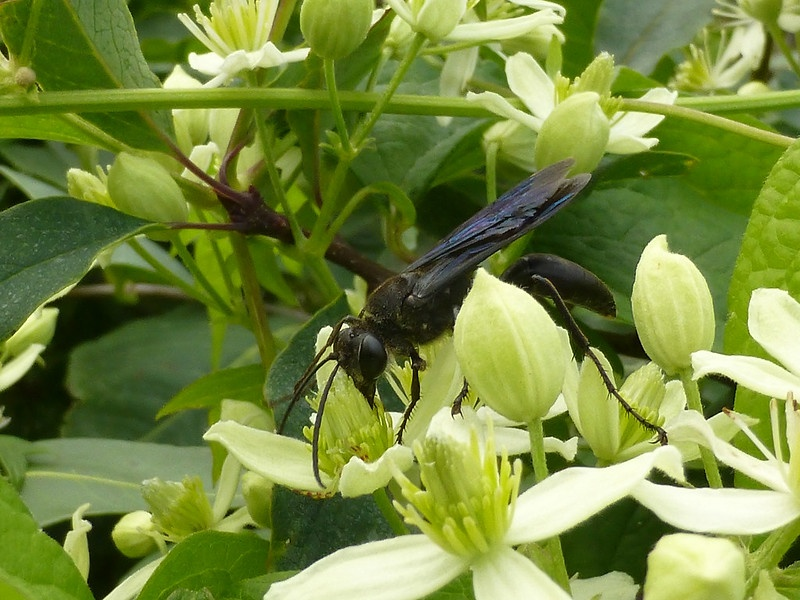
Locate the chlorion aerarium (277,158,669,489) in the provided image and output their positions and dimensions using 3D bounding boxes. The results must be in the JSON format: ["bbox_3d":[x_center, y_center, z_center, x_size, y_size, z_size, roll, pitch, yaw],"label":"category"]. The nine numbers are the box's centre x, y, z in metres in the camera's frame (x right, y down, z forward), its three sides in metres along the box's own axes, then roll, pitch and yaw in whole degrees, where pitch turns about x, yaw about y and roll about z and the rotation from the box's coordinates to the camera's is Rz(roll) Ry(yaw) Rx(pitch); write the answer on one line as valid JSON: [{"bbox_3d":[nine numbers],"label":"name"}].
[{"bbox_3d":[0.093,0.091,1.291,0.419,0.142,0.332,-34,19,-5],"label":"chlorion aerarium"}]
